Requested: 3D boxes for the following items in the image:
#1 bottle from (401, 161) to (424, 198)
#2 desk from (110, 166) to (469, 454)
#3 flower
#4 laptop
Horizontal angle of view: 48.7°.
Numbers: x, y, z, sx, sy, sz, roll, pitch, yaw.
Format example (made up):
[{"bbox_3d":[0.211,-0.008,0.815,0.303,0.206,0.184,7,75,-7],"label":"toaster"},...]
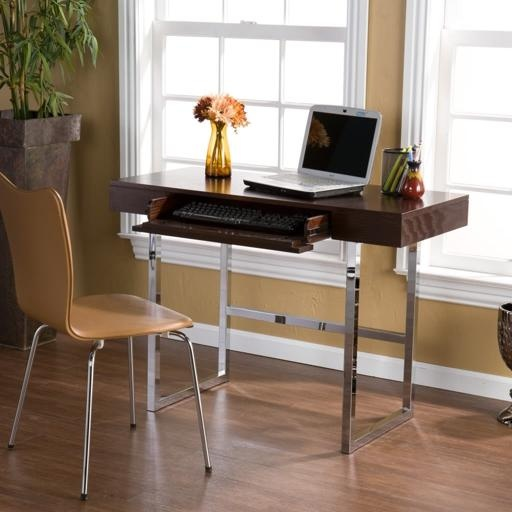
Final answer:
[{"bbox_3d":[0.518,-0.244,1.831,0.095,0.124,0.079,-1,7,-12],"label":"bottle"},{"bbox_3d":[0.087,0.195,2.101,1.074,0.855,0.556,6,10,31],"label":"desk"},{"bbox_3d":[-0.139,-0.464,2.195,0.240,0.299,0.232,13,13,42],"label":"flower"},{"bbox_3d":[0.198,-0.366,1.931,0.437,0.275,0.442,7,17,19],"label":"laptop"}]
